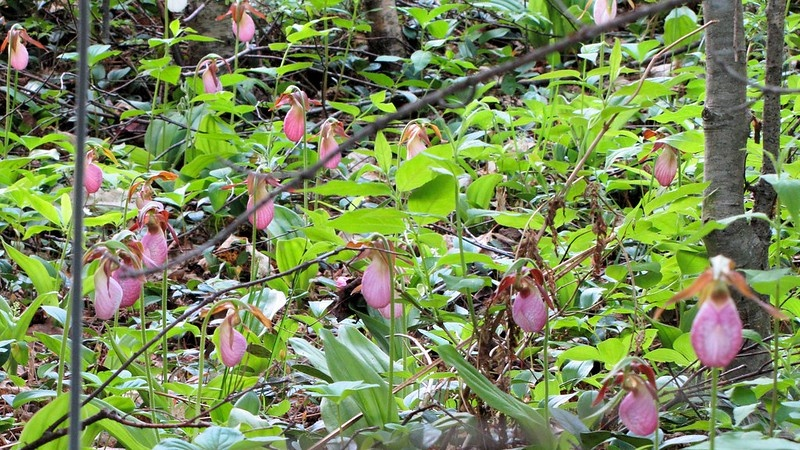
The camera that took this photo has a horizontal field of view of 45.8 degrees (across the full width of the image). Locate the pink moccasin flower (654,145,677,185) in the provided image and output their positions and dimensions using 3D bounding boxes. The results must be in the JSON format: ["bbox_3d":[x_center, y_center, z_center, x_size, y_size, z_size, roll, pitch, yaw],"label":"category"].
[{"bbox_3d":[1.760,-0.396,6.268,0.169,0.249,0.059,14,12,8],"label":"pink moccasin flower"}]
